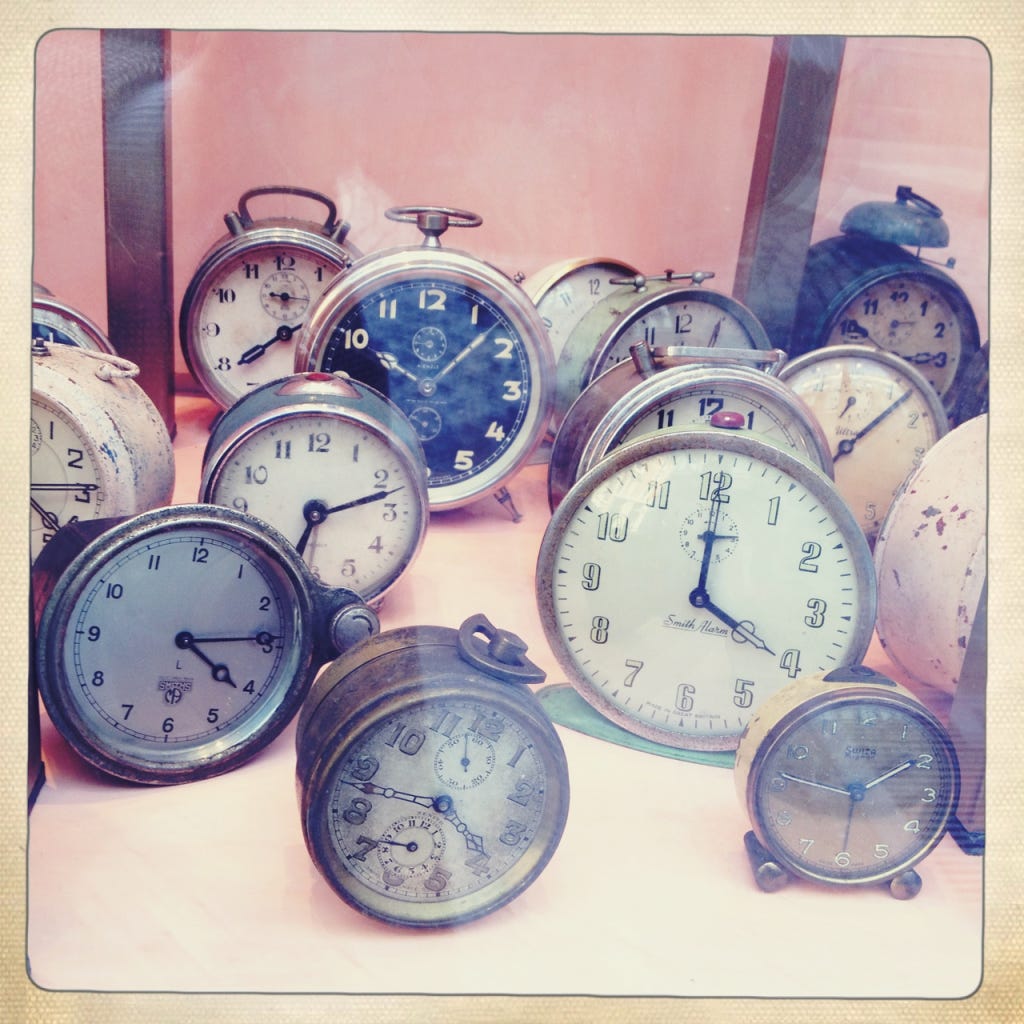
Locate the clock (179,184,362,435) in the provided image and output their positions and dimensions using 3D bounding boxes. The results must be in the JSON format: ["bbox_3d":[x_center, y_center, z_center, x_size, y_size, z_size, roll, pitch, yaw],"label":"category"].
[{"bbox_3d":[-0.312,-0.269,2.032,0.301,0.329,0.108,7,34,-18],"label":"clock"}]

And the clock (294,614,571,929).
[{"bbox_3d":[-0.093,0.327,1.962,0.317,0.349,0.160,-1,-18,1],"label":"clock"}]

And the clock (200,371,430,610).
[{"bbox_3d":[-0.270,-0.034,2.076,0.340,0.323,0.132,0,10,-6],"label":"clock"}]

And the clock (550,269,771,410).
[{"bbox_3d":[0.254,-0.225,2.420,0.307,0.295,0.114,-5,-18,-25],"label":"clock"}]

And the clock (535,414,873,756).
[{"bbox_3d":[0.254,0.101,2.047,0.445,0.401,0.443,7,4,36],"label":"clock"}]

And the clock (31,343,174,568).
[{"bbox_3d":[-0.576,-0.099,2.172,0.243,0.252,0.158,16,35,40],"label":"clock"}]

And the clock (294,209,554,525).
[{"bbox_3d":[-0.133,-0.195,2.083,0.410,0.439,0.181,0,26,-13],"label":"clock"}]

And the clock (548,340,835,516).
[{"bbox_3d":[0.252,-0.107,2.138,0.263,0.256,0.114,5,6,-9],"label":"clock"}]

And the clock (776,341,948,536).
[{"bbox_3d":[0.481,-0.101,2.148,0.260,0.233,0.060,5,12,28],"label":"clock"}]

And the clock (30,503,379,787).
[{"bbox_3d":[-0.385,0.173,2.022,0.420,0.330,0.163,4,-18,-15],"label":"clock"}]

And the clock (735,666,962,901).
[{"bbox_3d":[0.415,0.346,2.036,0.295,0.280,0.142,5,7,-17],"label":"clock"}]
